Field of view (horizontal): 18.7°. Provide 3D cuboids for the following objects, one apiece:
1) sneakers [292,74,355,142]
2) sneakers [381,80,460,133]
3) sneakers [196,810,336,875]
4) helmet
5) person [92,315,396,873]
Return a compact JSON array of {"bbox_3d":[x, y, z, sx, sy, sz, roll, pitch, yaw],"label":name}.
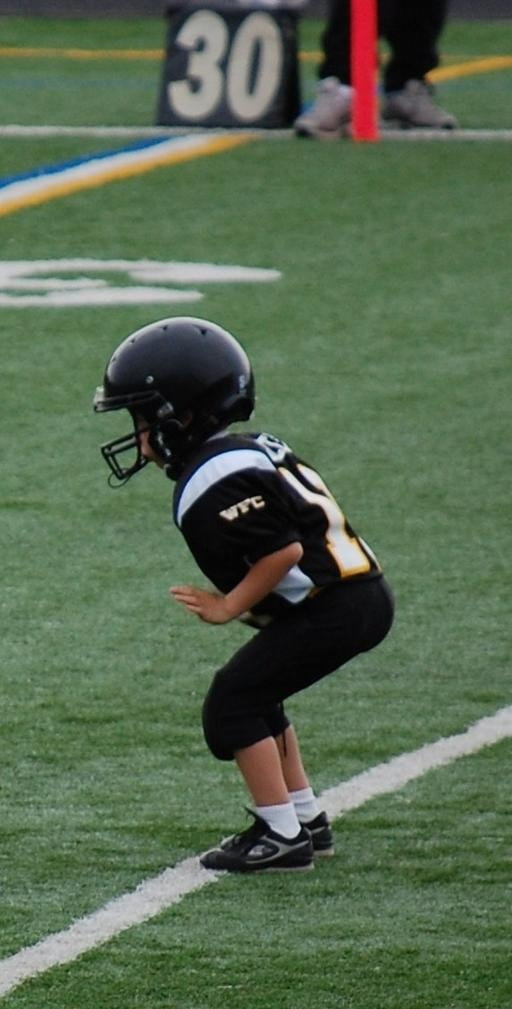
[{"bbox_3d":[0.288,-1.724,6.760,0.258,0.253,0.180,-7,18,-11],"label":"sneakers"},{"bbox_3d":[0.774,-1.838,7.180,0.221,0.158,0.348,5,7,44],"label":"sneakers"},{"bbox_3d":[0.012,0.594,2.737,0.266,0.103,0.091,-1,-1,-8],"label":"sneakers"},{"bbox_3d":[-0.136,-0.181,2.723,0.324,0.273,0.262,-7,3,3],"label":"helmet"},{"bbox_3d":[0.004,0.147,2.760,0.474,0.923,0.457,-8,19,-11],"label":"person"}]
